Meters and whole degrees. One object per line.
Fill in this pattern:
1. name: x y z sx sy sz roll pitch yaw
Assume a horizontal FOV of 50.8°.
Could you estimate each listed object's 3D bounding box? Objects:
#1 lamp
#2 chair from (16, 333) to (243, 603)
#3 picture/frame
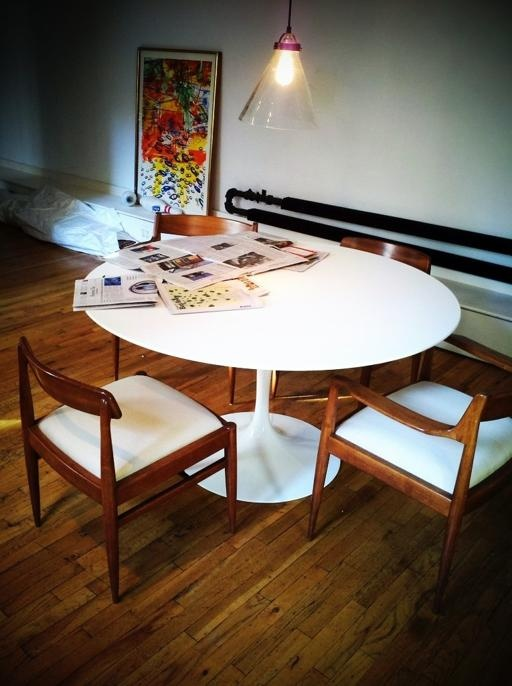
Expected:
1. lamp: 0.076 -0.867 1.737 0.238 0.337 0.292 3 20 -2
2. chair: -0.359 0.398 1.569 0.411 0.584 0.444 32 47 31
3. picture/frame: -0.646 -1.642 4.190 0.230 1.210 0.853 -15 27 -40
